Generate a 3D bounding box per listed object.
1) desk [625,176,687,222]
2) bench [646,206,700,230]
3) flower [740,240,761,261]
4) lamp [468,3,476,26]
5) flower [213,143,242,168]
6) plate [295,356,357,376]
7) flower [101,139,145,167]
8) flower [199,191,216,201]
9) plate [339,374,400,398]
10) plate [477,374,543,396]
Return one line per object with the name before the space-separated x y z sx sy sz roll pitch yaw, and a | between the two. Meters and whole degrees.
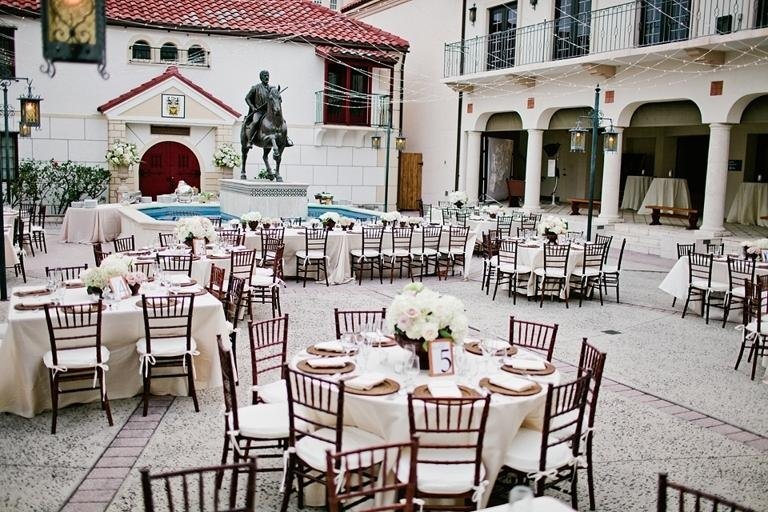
desk | 9.207 -2.079 20.928 1.691 0.893 1.734 -2 4 -26
bench | 8.989 -1.260 19.168 1.216 0.622 3.214 3 8 25
flower | 6.603 -0.117 11.111 0.344 0.381 0.377 -5 10 -14
lamp | 3.291 -9.095 23.274 0.166 0.758 0.508 -4 8 -26
flower | -5.540 -3.605 21.937 0.844 0.731 0.849 3 1 6
plate | -0.584 1.097 6.221 0.591 0.086 0.347 -1 7 -5
flower | -8.594 -3.316 20.338 1.001 0.914 0.987 0 5 -12
flower | -5.995 -2.040 20.979 0.510 0.284 0.484 -2 1 -41
plate | -0.113 1.209 5.819 0.523 0.112 0.317 0 7 2
plate | 1.207 1.227 5.892 0.593 0.104 0.331 1 7 5
